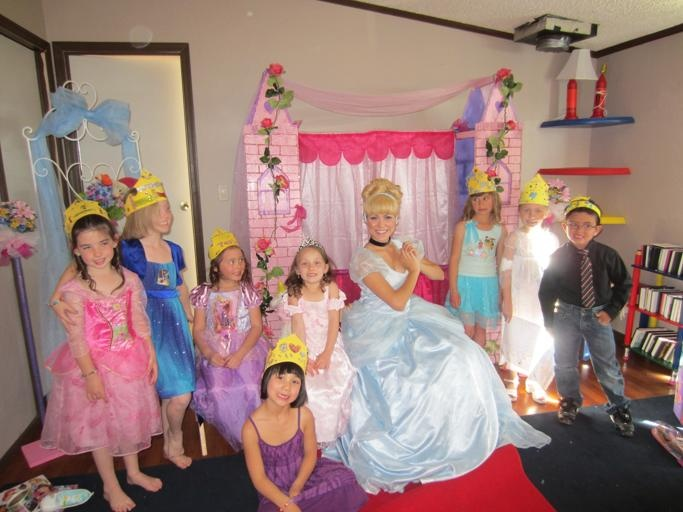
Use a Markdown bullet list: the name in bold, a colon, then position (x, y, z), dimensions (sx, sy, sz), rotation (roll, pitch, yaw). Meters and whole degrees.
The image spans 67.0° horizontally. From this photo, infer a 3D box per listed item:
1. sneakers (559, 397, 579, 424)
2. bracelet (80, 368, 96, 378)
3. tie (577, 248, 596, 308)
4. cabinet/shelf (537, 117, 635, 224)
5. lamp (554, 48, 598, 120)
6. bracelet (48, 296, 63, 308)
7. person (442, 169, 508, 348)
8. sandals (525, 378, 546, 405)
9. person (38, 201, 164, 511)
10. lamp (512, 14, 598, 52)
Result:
- **sneakers**: position (1.737, 1.193, 3.970), dimensions (0.085, 0.122, 0.269), rotation (2, 3, 28)
- **bracelet**: position (-1.585, 0.735, 3.242), dimensions (0.079, 0.052, 0.033), rotation (-6, 11, -17)
- **tie**: position (1.802, 0.161, 3.804), dimensions (0.095, 0.456, 0.035), rotation (-3, 2, 38)
- **cabinet/shelf**: position (2.641, -0.893, 5.734), dimensions (0.963, 1.212, 1.032), rotation (-1, 1, 26)
- **lamp**: position (2.471, -1.830, 5.476), dimensions (0.538, 0.753, 0.415), rotation (-10, 13, -36)
- **bracelet**: position (-1.787, 0.291, 3.235), dimensions (0.083, 0.025, 0.052), rotation (-20, -18, 26)
- **person**: position (1.171, 0.077, 4.439), dimensions (0.488, 1.833, 0.456), rotation (5, 32, 17)
- **sandals**: position (1.601, 1.122, 4.261), dimensions (0.085, 0.104, 0.241), rotation (-1, 9, -7)
- **person**: position (-1.562, 0.637, 3.376), dimensions (0.658, 1.967, 0.483), rotation (0, 11, 13)
- **lamp**: position (2.098, -2.193, 5.177), dimensions (0.681, 0.233, 0.692), rotation (-2, 12, -29)
